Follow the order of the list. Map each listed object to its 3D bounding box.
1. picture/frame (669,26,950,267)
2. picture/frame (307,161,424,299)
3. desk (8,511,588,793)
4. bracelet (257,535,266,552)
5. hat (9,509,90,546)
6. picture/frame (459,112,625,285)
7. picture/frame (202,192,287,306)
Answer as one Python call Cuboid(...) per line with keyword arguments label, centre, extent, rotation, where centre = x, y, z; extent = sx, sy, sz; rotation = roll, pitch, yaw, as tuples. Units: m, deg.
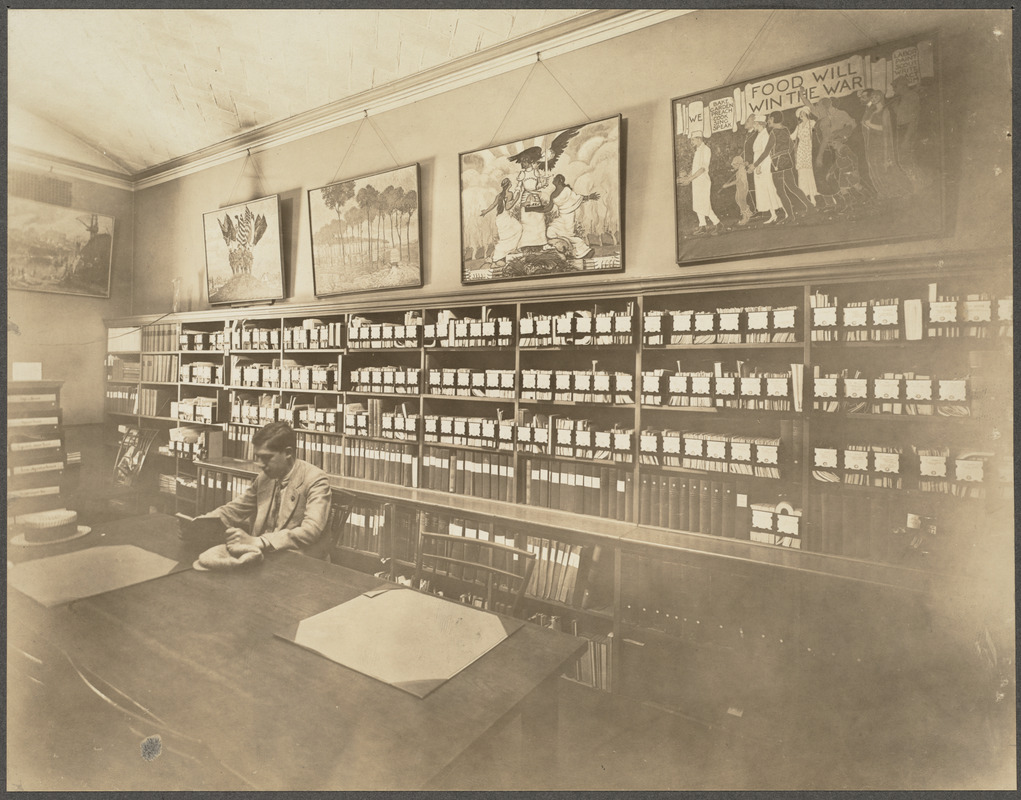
Cuboid(label="picture/frame", centre=(1.220, -1.015, 3.057), extent=(0.903, 0.700, 0.035), rotation=(-3, 0, 25))
Cuboid(label="picture/frame", centre=(-0.670, -0.824, 3.684), extent=(0.556, 0.526, 0.045), rotation=(2, 9, 23))
Cuboid(label="desk", centre=(-0.995, 1.009, 2.862), extent=(2.132, 1.006, 0.670), rotation=(1, 1, 17))
Cuboid(label="bracelet", centre=(-1.071, 0.617, 3.342), extent=(0.040, 0.041, 0.010), rotation=(-4, -24, 2))
Cuboid(label="hat", centre=(-1.905, 0.529, 3.201), extent=(0.171, 0.057, 0.166), rotation=(2, 5, 24))
Cuboid(label="picture/frame", centre=(0.164, -0.895, 3.395), extent=(0.699, 0.571, 0.027), rotation=(1, 5, 28))
Cuboid(label="picture/frame", centre=(-1.277, -0.720, 3.675), extent=(0.413, 0.497, 0.047), rotation=(7, 19, 22))
